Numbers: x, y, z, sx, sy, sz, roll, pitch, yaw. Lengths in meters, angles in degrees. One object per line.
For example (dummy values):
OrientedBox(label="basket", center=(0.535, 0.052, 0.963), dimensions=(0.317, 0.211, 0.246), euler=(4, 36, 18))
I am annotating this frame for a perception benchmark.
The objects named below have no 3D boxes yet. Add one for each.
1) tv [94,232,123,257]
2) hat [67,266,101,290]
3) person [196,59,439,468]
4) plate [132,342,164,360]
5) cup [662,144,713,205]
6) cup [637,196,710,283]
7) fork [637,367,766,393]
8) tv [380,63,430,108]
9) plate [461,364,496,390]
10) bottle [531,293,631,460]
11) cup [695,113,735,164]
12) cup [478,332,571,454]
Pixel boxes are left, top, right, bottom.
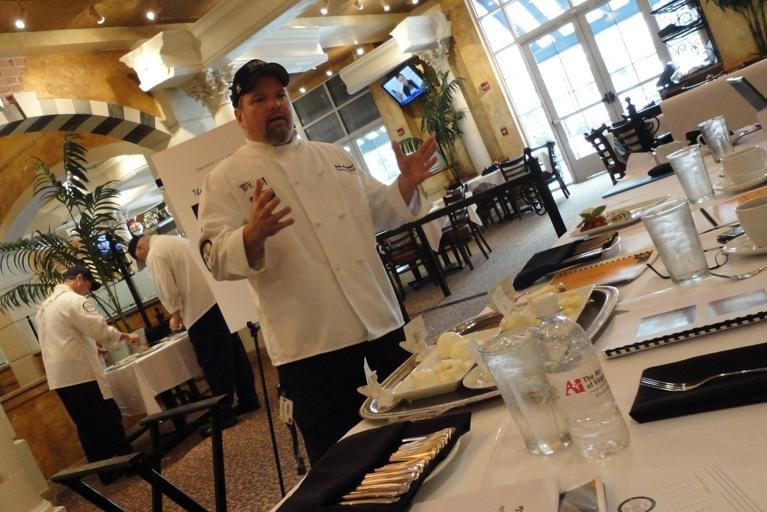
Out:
OrientedBox(label="tv", center=(-3.074, -0.133, 5.861), dimensions=(0.310, 0.293, 0.073), euler=(11, -7, -25))
OrientedBox(label="hat", center=(-2.822, 0.193, 4.909), dimensions=(0.183, 0.161, 0.259), euler=(11, -19, 45))
OrientedBox(label="person", center=(-0.246, -0.069, 2.018), dimensions=(0.814, 1.579, 0.489), euler=(-24, 5, -32))
OrientedBox(label="plate", center=(-2.170, 0.874, 4.818), dimensions=(0.255, 0.035, 0.322), euler=(-3, 7, 2))
OrientedBox(label="cup", center=(1.104, -0.285, 1.862), dimensions=(0.096, 0.176, 0.213), euler=(-19, 5, 32))
OrientedBox(label="cup", center=(0.744, -0.032, 1.325), dimensions=(0.104, 0.180, 0.057), euler=(-20, 5, 26))
OrientedBox(label="fork", center=(0.609, 0.232, 0.983), dimensions=(0.246, 0.028, 0.028), euler=(-8, -30, 26))
OrientedBox(label="tv", center=(0.481, -3.692, 11.358), dimensions=(0.869, 0.806, 0.902), euler=(-17, 11, 15))
OrientedBox(label="plate", center=(0.233, 0.309, 1.279), dimensions=(0.091, 0.024, 0.092), euler=(-9, 30, 22))
OrientedBox(label="bottle", center=(0.370, 0.245, 0.992), dimensions=(0.102, 0.266, 0.088), euler=(-23, 4, -18))
OrientedBox(label="cup", center=(1.458, -0.496, 2.296), dimensions=(0.114, 0.175, 0.171), euler=(-17, 1, -21))
OrientedBox(label="cup", center=(0.282, 0.268, 1.016), dimensions=(0.149, 0.237, 0.156), euler=(-28, 7, 4))
